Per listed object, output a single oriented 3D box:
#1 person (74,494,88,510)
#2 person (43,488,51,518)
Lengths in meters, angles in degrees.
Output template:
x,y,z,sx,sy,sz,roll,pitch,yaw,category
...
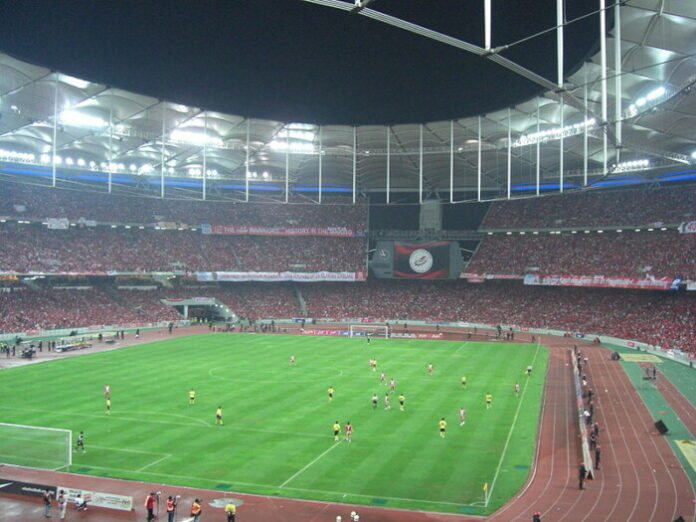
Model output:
x,y,z,sx,sy,sz,roll,pitch,yaw,category
-14.488,13.096,37.944,0.651,0.775,0.447,0,10,-9,person
-16.176,12.960,37.565,0.464,1.176,1.552,-3,9,-24,person
